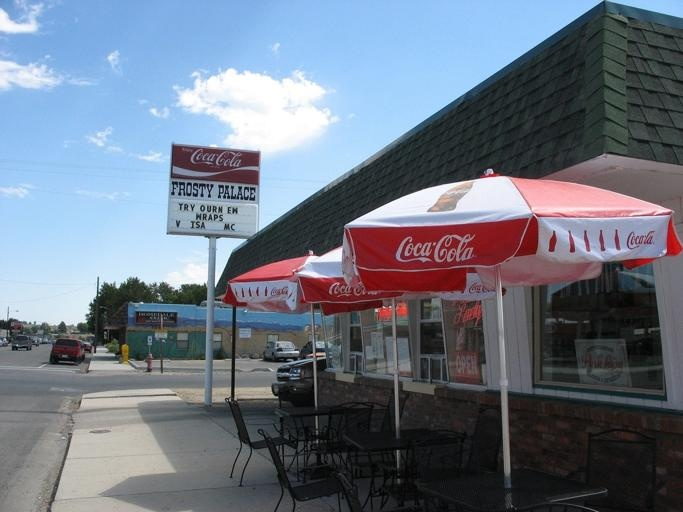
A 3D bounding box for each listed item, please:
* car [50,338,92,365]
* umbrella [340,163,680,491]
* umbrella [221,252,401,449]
[{"bbox_3d":[-17.163,5.861,38.538,1.707,1.627,1.915,4,-10,-25],"label":"car"},{"bbox_3d":[1.555,0.569,7.097,3.493,3.691,3.290,-4,-12,9],"label":"umbrella"},{"bbox_3d":[-0.068,0.854,9.484,2.644,2.911,3.120,-2,-3,-22],"label":"umbrella"}]
